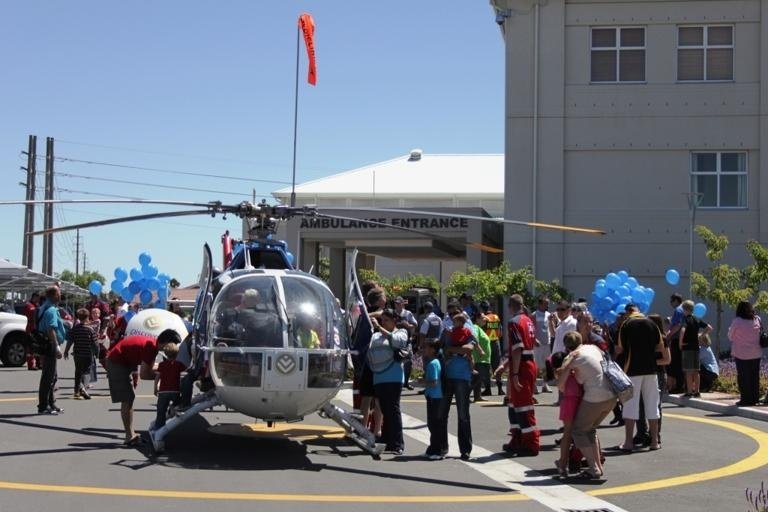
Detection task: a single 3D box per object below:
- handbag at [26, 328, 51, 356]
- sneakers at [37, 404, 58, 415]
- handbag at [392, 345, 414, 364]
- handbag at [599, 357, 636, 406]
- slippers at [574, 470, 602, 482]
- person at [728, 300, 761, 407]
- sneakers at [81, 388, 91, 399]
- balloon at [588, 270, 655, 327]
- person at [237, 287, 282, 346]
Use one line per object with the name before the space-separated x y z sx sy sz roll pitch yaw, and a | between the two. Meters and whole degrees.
handbag | -8.044 1.984 23.812 0.589 0.582 0.433 -8 19 -24
sneakers | -7.825 3.499 23.860 0.318 0.113 0.250 -3 -2 29
handbag | 0.392 1.965 20.998 0.258 0.309 0.380 -2 -1 41
handbag | 4.535 2.329 20.040 0.379 0.926 0.548 -40 -18 29
slippers | 3.931 4.182 19.841 0.393 0.129 0.217 1 0 13
person | 8.659 2.294 24.730 0.736 1.810 0.545 -1 -1 18
sneakers | -7.614 3.407 26.051 0.131 0.158 0.405 -8 18 -27
balloon | 6.100 1.146 26.516 1.225 1.392 1.587 7 -34 1
person | -2.538 1.287 20.796 1.146 1.536 0.827 1 -25 -9
